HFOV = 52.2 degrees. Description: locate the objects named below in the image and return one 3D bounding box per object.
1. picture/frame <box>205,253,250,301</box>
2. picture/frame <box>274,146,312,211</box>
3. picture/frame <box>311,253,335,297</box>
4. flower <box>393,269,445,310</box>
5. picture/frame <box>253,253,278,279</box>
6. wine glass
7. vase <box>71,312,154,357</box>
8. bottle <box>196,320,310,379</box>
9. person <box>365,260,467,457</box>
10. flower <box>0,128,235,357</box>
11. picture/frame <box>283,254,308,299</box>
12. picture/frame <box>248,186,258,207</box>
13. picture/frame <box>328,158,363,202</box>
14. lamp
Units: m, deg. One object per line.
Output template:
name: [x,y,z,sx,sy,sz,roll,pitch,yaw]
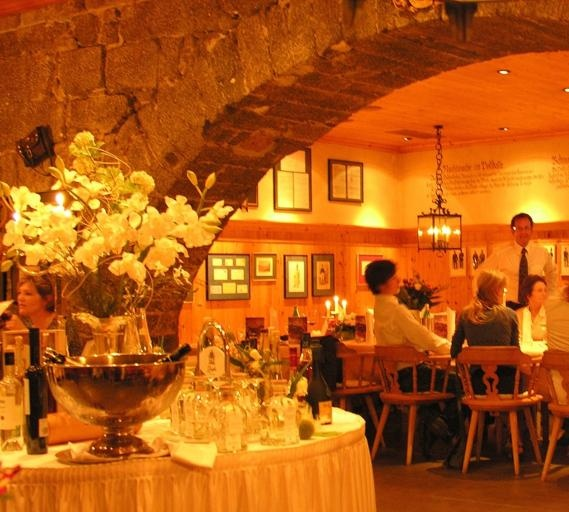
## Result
picture/frame: [-0.912,0.325,8.960,0.655,0.693,0.086,3,-7,-35]
picture/frame: [0.144,-1.283,9.671,0.810,1.102,0.159,1,-4,-41]
picture/frame: [0.651,0.339,10.123,0.674,1.005,0.063,2,-4,-40]
flower: [1.346,0.361,6.311,0.418,0.333,0.458,11,-2,21]
picture/frame: [-0.338,0.153,9.447,0.388,0.396,0.038,1,-4,-42]
wine glass: [-0.498,0.422,1.720,0.312,0.238,0.337,-2,-12,1]
vase: [-0.592,0.291,2.001,0.167,0.218,0.183,-3,-14,9]
bottle: [-0.149,0.359,2.159,0.324,0.190,0.218,12,-8,-12]
person: [1.262,0.946,5.426,0.793,1.997,0.703,-8,10,2]
flower: [-0.752,-0.085,2.416,0.696,0.888,1.539,0,-4,-22]
picture/frame: [0.188,0.343,9.837,0.513,0.713,0.112,1,-4,-42]
picture/frame: [-0.487,-0.937,9.160,0.267,0.342,0.110,1,-4,-39]
picture/frame: [1.047,-1.356,10.277,0.729,0.745,0.051,2,-1,-39]
lamp: [2.606,-1.088,9.844,0.761,2.109,2.119,-2,-4,15]
